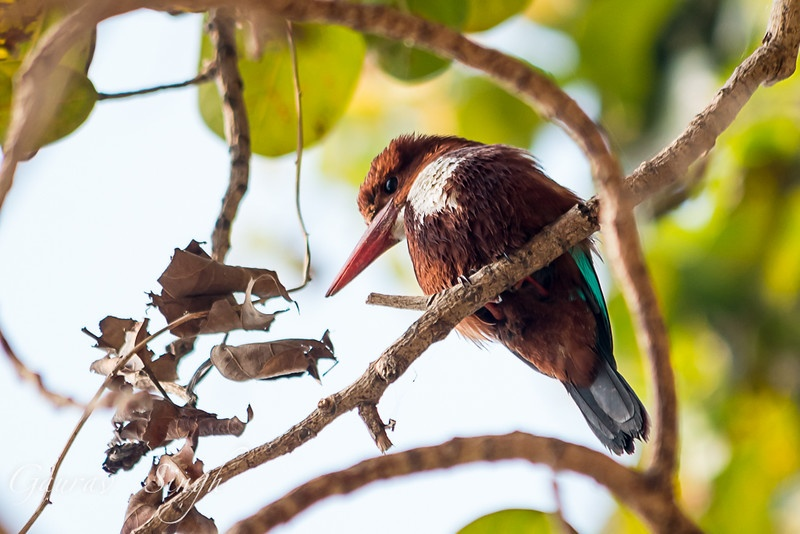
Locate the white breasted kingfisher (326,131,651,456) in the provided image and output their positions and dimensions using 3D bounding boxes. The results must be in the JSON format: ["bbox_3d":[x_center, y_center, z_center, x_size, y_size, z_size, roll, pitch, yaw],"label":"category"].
[{"bbox_3d":[0.123,0.003,1.467,0.451,0.299,0.236,22,15,33],"label":"white breasted kingfisher"}]
